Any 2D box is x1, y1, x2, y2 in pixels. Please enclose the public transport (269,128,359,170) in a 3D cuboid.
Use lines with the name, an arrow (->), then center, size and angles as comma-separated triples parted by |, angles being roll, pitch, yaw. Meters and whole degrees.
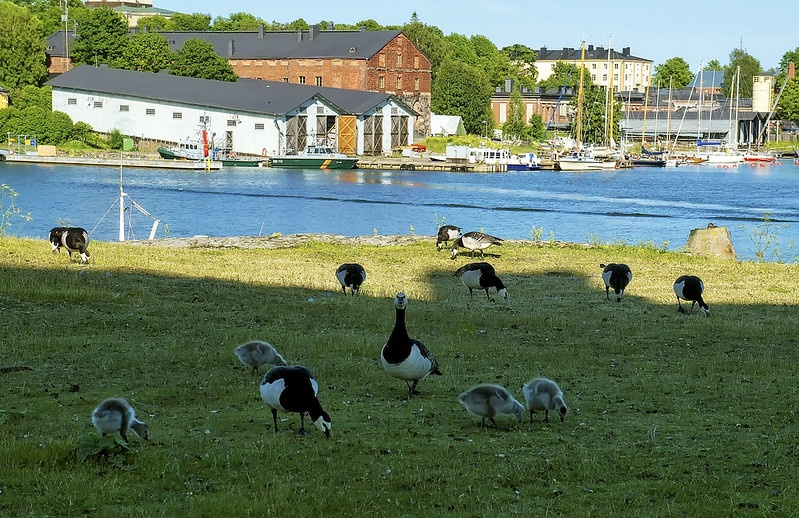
public transport -> -12.354, -13.640, 217.022 | 12.744, 4.261, 4.556 | -1, 12, -2

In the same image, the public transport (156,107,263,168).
public transport -> -24.860, -16.074, 215.682 | 19.955, 9.297, 6.047 | 3, 3, -10

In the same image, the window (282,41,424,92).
window -> -4.509, -28.761, 240.502 | 13.510, 6.385, 11.252 | 2, 3, 30
